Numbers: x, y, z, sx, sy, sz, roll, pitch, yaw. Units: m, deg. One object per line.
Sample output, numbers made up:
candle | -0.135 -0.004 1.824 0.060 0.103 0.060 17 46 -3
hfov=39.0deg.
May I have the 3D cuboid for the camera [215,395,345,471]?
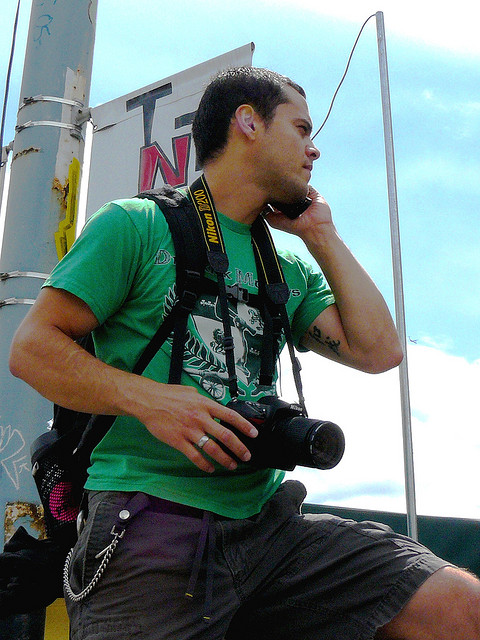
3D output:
camera | 0.108 0.289 1.689 0.300 0.183 0.161 5 -4 8
